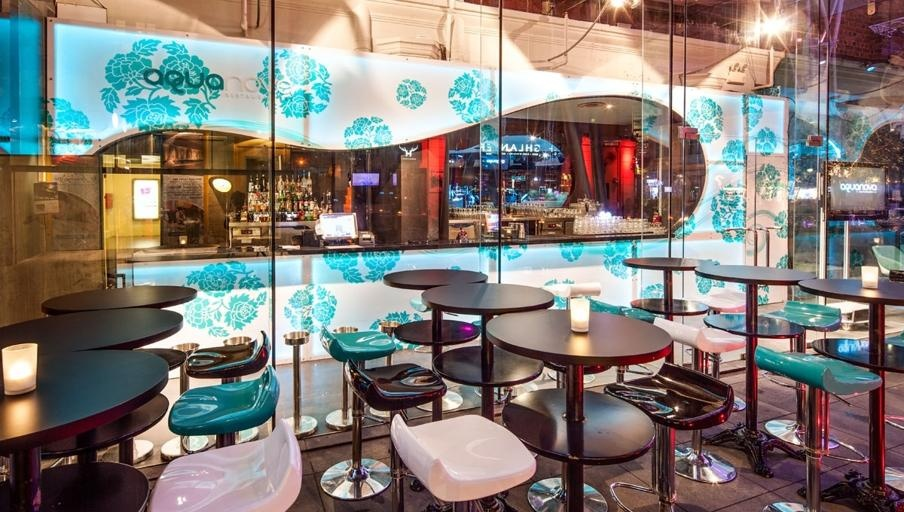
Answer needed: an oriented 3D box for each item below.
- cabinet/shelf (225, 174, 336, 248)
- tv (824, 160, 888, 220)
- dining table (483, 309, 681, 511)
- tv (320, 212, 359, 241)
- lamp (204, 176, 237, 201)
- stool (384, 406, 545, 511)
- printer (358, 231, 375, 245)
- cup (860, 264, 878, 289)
[{"bbox_3d":[-2.197,-0.515,7.662,1.008,0.911,1.380,-1,7,21],"label":"cabinet/shelf"},{"bbox_3d":[5.256,-0.836,8.240,0.939,0.769,0.076,-5,7,-13],"label":"tv"},{"bbox_3d":[1.085,1.262,5.870,1.756,1.730,1.629,0,4,-5],"label":"dining table"},{"bbox_3d":[-1.456,-0.369,8.107,0.637,0.398,0.324,-2,7,-25],"label":"tv"},{"bbox_3d":[-2.775,-0.811,7.690,0.299,0.279,0.075,-8,8,-35],"label":"lamp"},{"bbox_3d":[0.117,1.591,5.032,0.933,0.279,0.894,-9,13,-28],"label":"stool"},{"bbox_3d":[-1.089,-0.226,8.141,0.182,0.158,0.178,1,-3,-26],"label":"printer"},{"bbox_3d":[4.059,0.200,6.175,0.133,0.206,0.211,0,7,30],"label":"cup"}]
